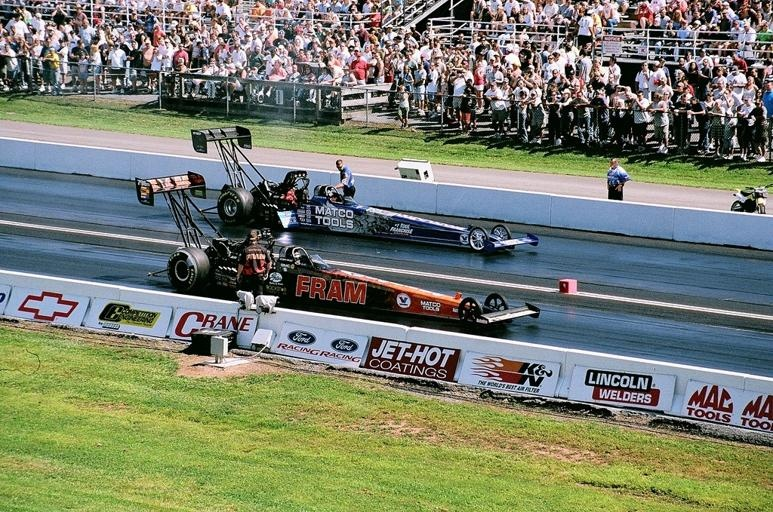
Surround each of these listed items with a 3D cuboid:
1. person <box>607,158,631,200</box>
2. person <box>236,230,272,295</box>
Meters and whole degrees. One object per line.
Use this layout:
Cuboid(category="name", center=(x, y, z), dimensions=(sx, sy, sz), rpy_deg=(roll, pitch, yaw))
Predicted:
Cuboid(category="person", center=(7.486, -2.486, 60.154), dimensions=(0.614, 1.353, 1.202), rpy_deg=(4, 7, 7))
Cuboid(category="person", center=(-3.812, 0.223, 53.792), dimensions=(0.970, 1.862, 0.518), rpy_deg=(3, 7, -3))
